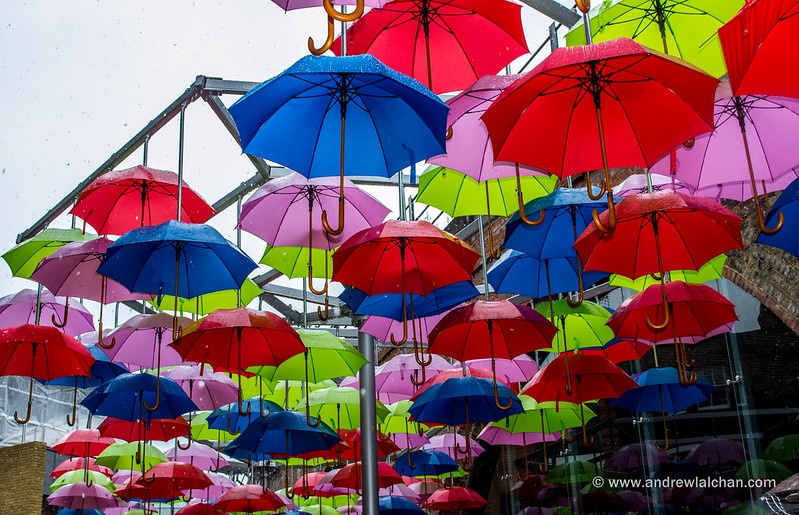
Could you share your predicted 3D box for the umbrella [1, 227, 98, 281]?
[{"bbox_3d":[-4.122,-0.100,10.803,0.955,0.567,0.311,-7,-29,6],"label":"umbrella"}]
